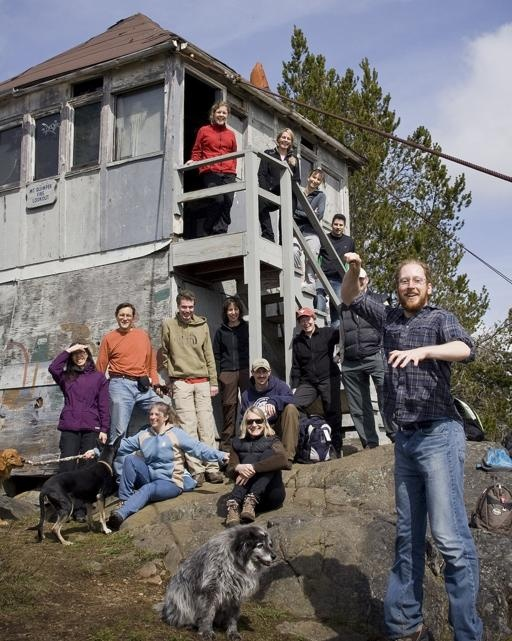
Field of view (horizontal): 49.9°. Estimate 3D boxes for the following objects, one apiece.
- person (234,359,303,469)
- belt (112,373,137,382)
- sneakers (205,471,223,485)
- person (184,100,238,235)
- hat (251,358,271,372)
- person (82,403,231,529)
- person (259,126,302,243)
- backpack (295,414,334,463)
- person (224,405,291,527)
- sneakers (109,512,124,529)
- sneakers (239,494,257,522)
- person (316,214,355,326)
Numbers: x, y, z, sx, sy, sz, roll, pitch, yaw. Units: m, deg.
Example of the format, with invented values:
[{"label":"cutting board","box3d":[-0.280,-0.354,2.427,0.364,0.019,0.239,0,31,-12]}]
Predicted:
[{"label":"person","box3d":[0.154,1.079,6.343,0.646,1.275,0.713,-15,-22,10]},{"label":"belt","box3d":[-1.690,0.735,7.099,0.327,0.078,0.098,3,-7,-18]},{"label":"sneakers","box3d":[-0.472,1.828,6.402,0.100,0.095,0.211,4,-14,-34]},{"label":"person","box3d":[-0.664,-2.313,8.512,0.685,2.151,1.168,1,-6,-5]},{"label":"hat","box3d":[0.044,0.519,6.357,0.204,0.152,0.263,1,-7,-1]},{"label":"person","box3d":[-1.109,1.479,5.655,1.164,1.182,1.272,8,-12,-42]},{"label":"person","box3d":[0.350,-2.098,8.634,0.606,1.765,1.091,0,-6,7]},{"label":"backpack","box3d":[0.687,1.419,6.546,0.382,0.532,0.497,14,-21,-42]},{"label":"person","box3d":[0.010,1.291,5.030,0.537,0.980,0.698,1,-6,-2]},{"label":"sneakers","box3d":[-1.321,1.891,5.278,0.124,0.173,0.160,3,8,1]},{"label":"sneakers","box3d":[-0.070,1.626,4.754,0.142,0.225,0.211,0,-6,2]},{"label":"person","box3d":[1.305,-0.731,9.226,0.539,1.945,0.568,3,6,-16]}]
